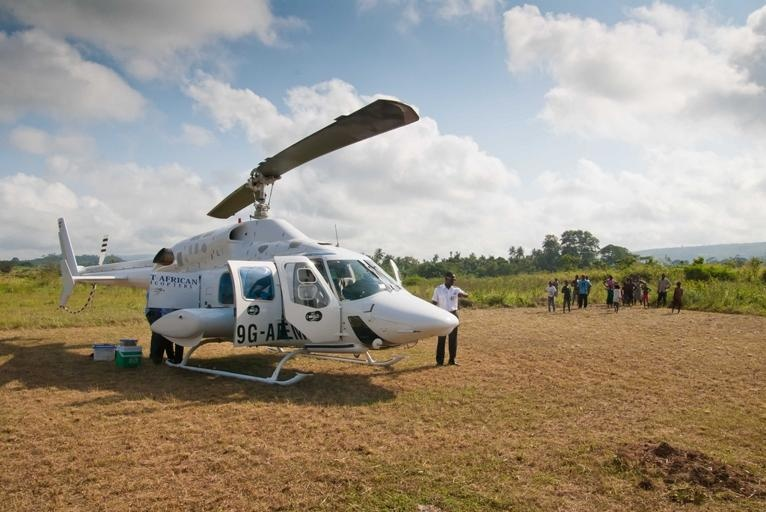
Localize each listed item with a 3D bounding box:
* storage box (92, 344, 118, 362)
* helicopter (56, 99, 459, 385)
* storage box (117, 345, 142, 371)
[{"bbox_3d":[-6.800,2.355,12.244,0.719,0.492,0.388,4,7,-11],"label":"storage box"},{"bbox_3d":[-4.147,0.537,12.823,12.678,4.898,4.301,-5,-9,29],"label":"helicopter"},{"bbox_3d":[-5.853,2.345,11.499,0.465,0.369,0.559,4,-7,-34],"label":"storage box"}]
